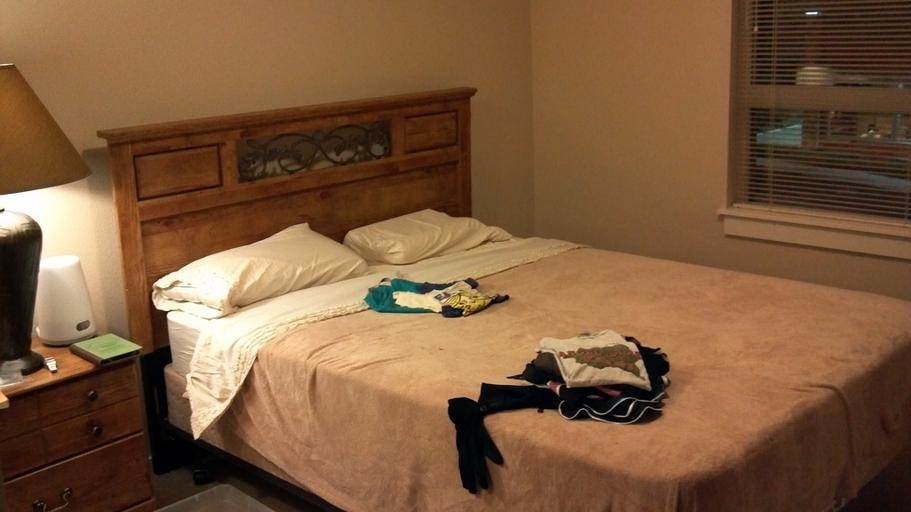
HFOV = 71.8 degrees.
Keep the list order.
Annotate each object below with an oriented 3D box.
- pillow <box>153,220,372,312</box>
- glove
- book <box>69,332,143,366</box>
[{"bbox_3d":[-1.217,0.091,4.121,0.975,0.236,0.583,-16,31,-36],"label":"pillow"},{"bbox_3d":[0.136,0.898,3.044,0.285,0.395,0.134,-9,1,31],"label":"glove"},{"bbox_3d":[-1.962,0.494,3.570,0.225,0.044,0.233,16,18,38],"label":"book"}]
